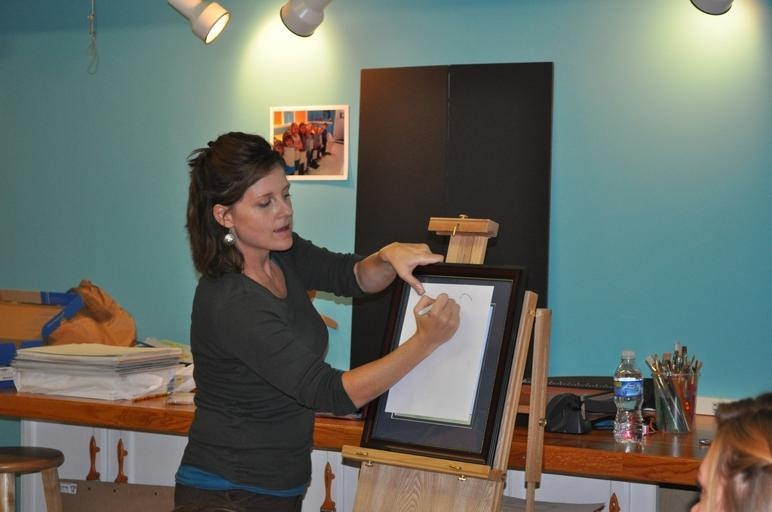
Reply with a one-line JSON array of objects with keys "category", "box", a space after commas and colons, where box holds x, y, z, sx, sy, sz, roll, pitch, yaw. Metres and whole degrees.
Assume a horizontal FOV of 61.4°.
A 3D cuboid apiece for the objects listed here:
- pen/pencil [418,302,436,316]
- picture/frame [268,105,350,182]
[{"category": "pen/pencil", "box": [0.138, 0.187, 2.301, 0.005, 0.022, 0.084, -39, -5, 28]}, {"category": "picture/frame", "box": [-0.415, -0.647, 3.729, 0.628, 0.617, 0.029, 0, 0, 11]}]
